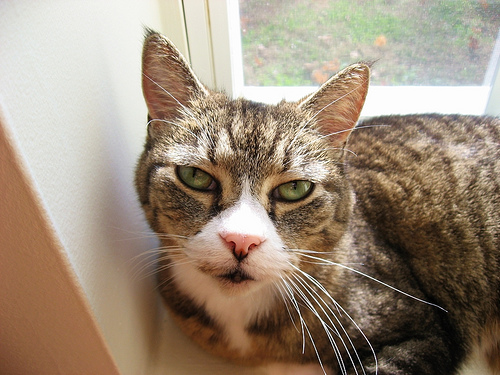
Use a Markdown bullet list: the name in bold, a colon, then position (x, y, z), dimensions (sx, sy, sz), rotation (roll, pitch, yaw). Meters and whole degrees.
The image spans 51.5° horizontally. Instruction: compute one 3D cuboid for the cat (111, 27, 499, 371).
- **cat**: position (0.364, -0.027, 1.639), dimensions (0.714, 0.809, 1.269), rotation (13, 30, 38)
